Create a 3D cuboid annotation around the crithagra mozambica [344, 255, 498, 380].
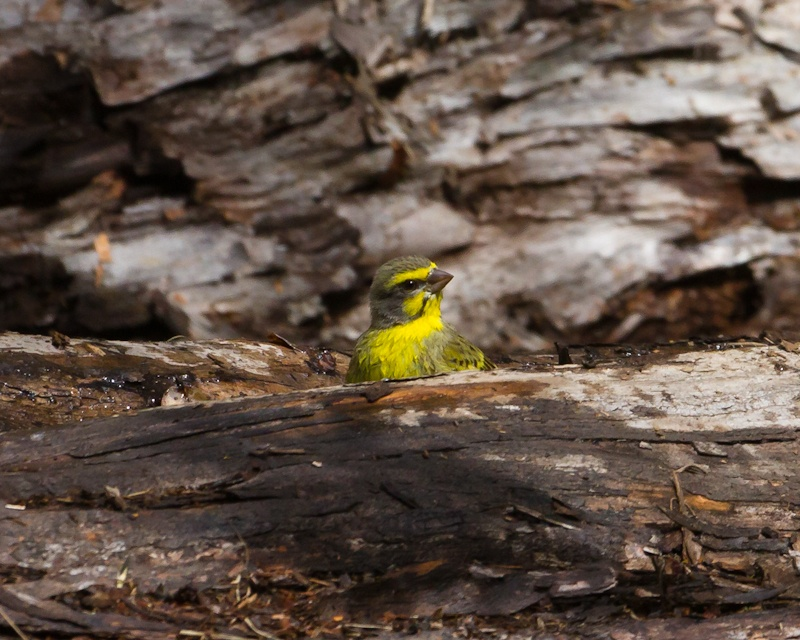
[{"bbox_3d":[0.037,0.033,7.239,0.608,0.717,0.711,-1,21,46],"label":"crithagra mozambica"}]
